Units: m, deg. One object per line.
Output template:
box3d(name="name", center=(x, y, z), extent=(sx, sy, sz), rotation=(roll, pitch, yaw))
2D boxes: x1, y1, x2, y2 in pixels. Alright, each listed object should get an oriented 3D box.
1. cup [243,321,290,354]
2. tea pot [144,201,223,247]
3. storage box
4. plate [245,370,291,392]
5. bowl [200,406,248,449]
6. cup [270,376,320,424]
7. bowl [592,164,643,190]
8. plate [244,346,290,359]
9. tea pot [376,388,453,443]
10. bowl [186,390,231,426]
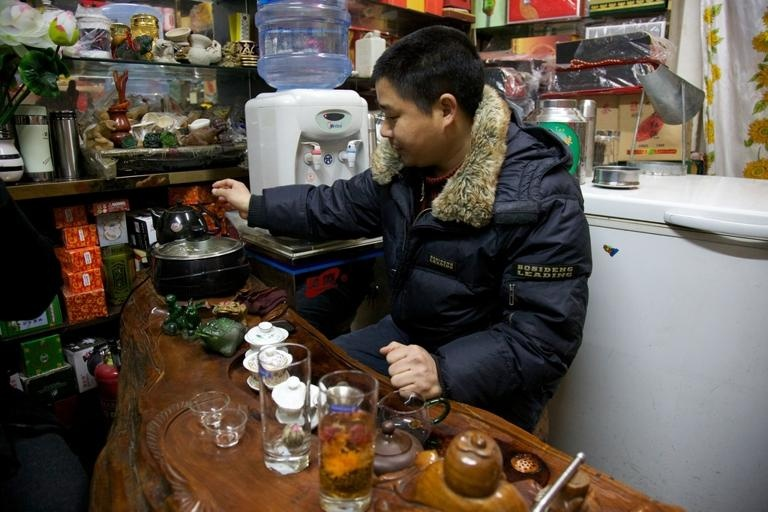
box3d(name="cup", center=(-0.390, 0.262, 1.673), extent=(0.133, 0.070, 0.136), rotation=(3, 12, -1))
box3d(name="tea pot", center=(-0.863, -0.135, 2.222), extent=(0.270, 0.192, 0.212), rotation=(-13, 30, -32))
box3d(name="storage box", center=(1.267, -0.658, 2.610), extent=(0.606, 0.399, 0.320), rotation=(0, 10, 8))
box3d(name="plate", center=(-0.370, 0.379, 1.573), extent=(0.088, 0.031, 0.086), rotation=(0, 45, -34))
box3d(name="bowl", center=(-0.436, 0.464, 1.389), extent=(0.102, 0.069, 0.100), rotation=(1, 27, 0))
box3d(name="cup", center=(-0.237, 0.373, 1.365), extent=(0.151, 0.130, 0.151), rotation=(1, 9, 0))
box3d(name="bowl", center=(0.992, -0.340, 2.183), extent=(0.152, 0.093, 0.195), rotation=(-11, 16, -39))
box3d(name="plate", center=(-0.333, 0.277, 1.468), extent=(0.098, 0.020, 0.066), rotation=(-6, 11, -5))
box3d(name="tea pot", center=(0.083, 0.460, 1.401), extent=(0.190, 0.129, 0.145), rotation=(-5, -15, 6))
box3d(name="bowl", center=(-0.486, 0.422, 1.426), extent=(0.095, 0.065, 0.095), rotation=(4, 27, -2))
